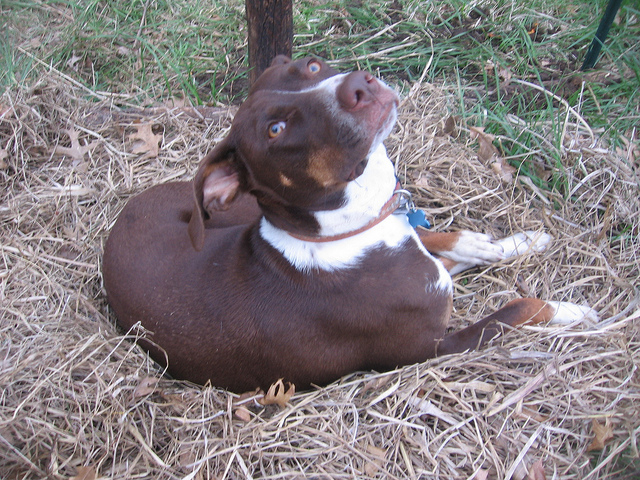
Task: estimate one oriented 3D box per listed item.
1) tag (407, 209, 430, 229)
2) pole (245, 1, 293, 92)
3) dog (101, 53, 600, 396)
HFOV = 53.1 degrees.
[{"bbox_3d":[0.750,-0.156,4.848,0.134,0.036,0.148,13,73,-29],"label":"tag"},{"bbox_3d":[-0.420,-1.688,5.486,0.365,0.909,0.386,-5,35,-20],"label":"pole"},{"bbox_3d":[-0.139,-0.035,4.270,2.827,1.607,1.611,0,57,-3],"label":"dog"}]
